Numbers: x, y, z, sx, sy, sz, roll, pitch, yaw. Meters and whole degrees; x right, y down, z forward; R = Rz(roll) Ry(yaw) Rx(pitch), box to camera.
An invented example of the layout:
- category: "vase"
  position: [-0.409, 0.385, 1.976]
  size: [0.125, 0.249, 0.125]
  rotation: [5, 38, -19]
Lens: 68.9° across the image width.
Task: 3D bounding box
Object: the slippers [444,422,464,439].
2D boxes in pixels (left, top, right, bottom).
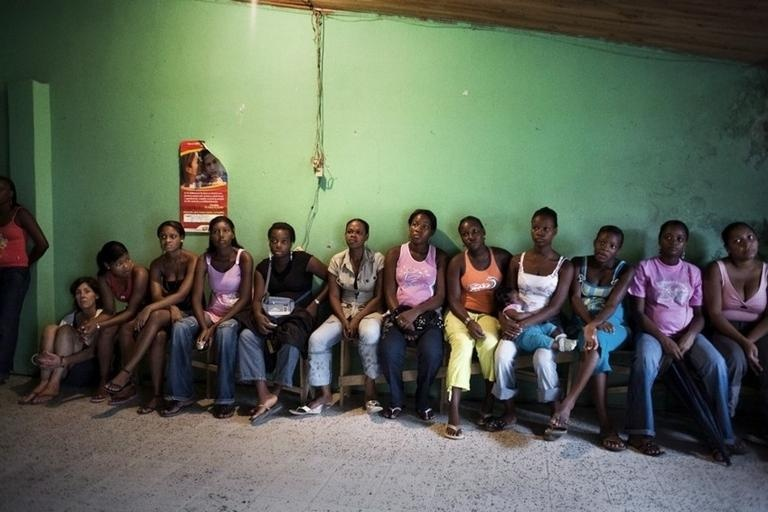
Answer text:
- category: "slippers"
  position: [0.607, 1.473, 4.710]
  size: [0.195, 0.101, 0.137]
  rotation: [-2, 7, -23]

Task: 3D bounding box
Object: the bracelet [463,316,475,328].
- category: "bracelet"
  position: [0.753, 0.597, 5.005]
  size: [0.087, 0.059, 0.140]
  rotation: [-12, 5, 4]

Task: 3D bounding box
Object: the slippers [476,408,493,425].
- category: "slippers"
  position: [0.881, 1.423, 4.929]
  size: [0.075, 0.050, 0.210]
  rotation: [-18, 16, 23]

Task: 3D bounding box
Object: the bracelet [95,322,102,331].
- category: "bracelet"
  position: [-2.676, 0.664, 5.250]
  size: [0.046, 0.062, 0.027]
  rotation: [-3, 7, -23]

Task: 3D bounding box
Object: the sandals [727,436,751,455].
- category: "sandals"
  position: [2.873, 1.555, 4.539]
  size: [0.177, 0.094, 0.094]
  rotation: [-3, 7, -30]

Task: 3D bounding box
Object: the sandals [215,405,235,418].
- category: "sandals"
  position: [-1.429, 1.371, 5.016]
  size: [0.188, 0.103, 0.222]
  rotation: [-1, 6, -12]

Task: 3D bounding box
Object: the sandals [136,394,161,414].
- category: "sandals"
  position: [-2.107, 1.336, 5.015]
  size: [0.207, 0.121, 0.121]
  rotation: [-3, 7, -28]

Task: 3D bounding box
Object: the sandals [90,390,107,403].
- category: "sandals"
  position: [-2.643, 1.307, 5.173]
  size: [0.137, 0.069, 0.088]
  rotation: [0, 6, 2]

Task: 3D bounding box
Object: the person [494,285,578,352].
- category: "person"
  position: [1.337, 0.526, 4.965]
  size: [0.755, 0.355, 0.568]
  rotation: [-2, -38, 25]

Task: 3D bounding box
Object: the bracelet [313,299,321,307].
- category: "bracelet"
  position: [-0.656, 0.444, 5.410]
  size: [0.046, 0.014, 0.048]
  rotation: [22, 43, 30]

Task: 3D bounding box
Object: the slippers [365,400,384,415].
- category: "slippers"
  position: [-0.087, 1.358, 5.011]
  size: [0.088, 0.070, 0.185]
  rotation: [-4, -13, -21]

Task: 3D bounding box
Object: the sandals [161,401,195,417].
- category: "sandals"
  position: [-1.868, 1.374, 5.035]
  size: [0.113, 0.089, 0.238]
  rotation: [-2, -5, 37]

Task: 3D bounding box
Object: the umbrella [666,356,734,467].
- category: "umbrella"
  position: [2.624, 1.249, 4.588]
  size: [0.288, 0.718, 0.551]
  rotation: [-2, 7, -18]

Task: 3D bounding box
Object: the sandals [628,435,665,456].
- category: "sandals"
  position: [2.112, 1.526, 4.528]
  size: [0.221, 0.091, 0.134]
  rotation: [5, 27, 36]

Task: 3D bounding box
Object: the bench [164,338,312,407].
- category: "bench"
  position: [-1.270, 0.985, 5.035]
  size: [1.012, 0.654, 0.636]
  rotation: [1, -2, 7]

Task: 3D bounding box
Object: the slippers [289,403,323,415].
- category: "slippers"
  position: [-0.671, 1.376, 5.014]
  size: [0.239, 0.053, 0.113]
  rotation: [7, -8, -33]

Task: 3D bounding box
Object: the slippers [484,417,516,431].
- category: "slippers"
  position: [1.003, 1.453, 4.839]
  size: [0.275, 0.067, 0.102]
  rotation: [-6, 41, -8]

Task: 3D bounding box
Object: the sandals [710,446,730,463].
- category: "sandals"
  position: [2.644, 1.560, 4.418]
  size: [0.087, 0.142, 0.094]
  rotation: [0, 6, 40]

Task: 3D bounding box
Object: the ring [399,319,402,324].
- category: "ring"
  position: [0.146, 0.596, 5.052]
  size: [0.028, 0.035, 0.010]
  rotation: [-12, 1, 26]

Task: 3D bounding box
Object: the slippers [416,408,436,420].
- category: "slippers"
  position: [0.379, 1.397, 4.916]
  size: [0.092, 0.070, 0.160]
  rotation: [1, -13, -22]

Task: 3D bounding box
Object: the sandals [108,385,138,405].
- category: "sandals"
  position: [-2.418, 1.285, 5.176]
  size: [0.132, 0.102, 0.270]
  rotation: [3, -1, 13]

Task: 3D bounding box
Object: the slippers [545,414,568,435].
- category: "slippers"
  position: [1.424, 1.421, 4.652]
  size: [0.163, 0.176, 0.063]
  rotation: [1, 7, 11]

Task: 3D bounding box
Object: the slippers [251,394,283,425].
- category: "slippers"
  position: [-1.028, 1.374, 4.957]
  size: [0.335, 0.121, 0.118]
  rotation: [-41, 20, -32]
